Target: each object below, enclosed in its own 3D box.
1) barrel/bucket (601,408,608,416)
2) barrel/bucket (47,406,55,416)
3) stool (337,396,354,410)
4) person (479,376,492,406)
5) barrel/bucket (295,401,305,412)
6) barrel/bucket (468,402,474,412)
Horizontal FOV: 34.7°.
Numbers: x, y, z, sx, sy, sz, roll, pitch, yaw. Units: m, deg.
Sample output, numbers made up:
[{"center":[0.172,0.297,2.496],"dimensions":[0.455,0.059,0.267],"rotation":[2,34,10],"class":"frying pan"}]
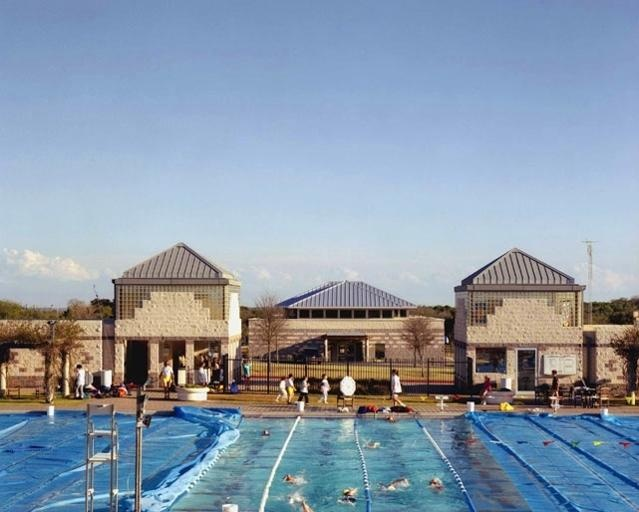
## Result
[{"center":[12.871,7.002,46.332],"dimensions":[0.250,0.266,0.473],"rotation":[-3,8,14],"class":"barrel/bucket"},{"center":[-12.282,7.008,46.737],"dimensions":[0.331,0.499,0.584],"rotation":[1,-11,-13],"class":"barrel/bucket"},{"center":[1.237,6.960,49.136],"dimensions":[1.034,0.893,0.405],"rotation":[-1,-10,-1],"class":"stool"},{"center":[8.004,6.450,49.461],"dimensions":[0.567,1.326,1.164],"rotation":[-3,-10,10],"class":"person"},{"center":[-0.945,6.884,47.204],"dimensions":[0.385,0.750,0.392],"rotation":[0,-4,0],"class":"barrel/bucket"},{"center":[6.914,6.886,47.275],"dimensions":[0.338,0.400,0.349],"rotation":[0,4,0],"class":"barrel/bucket"}]
